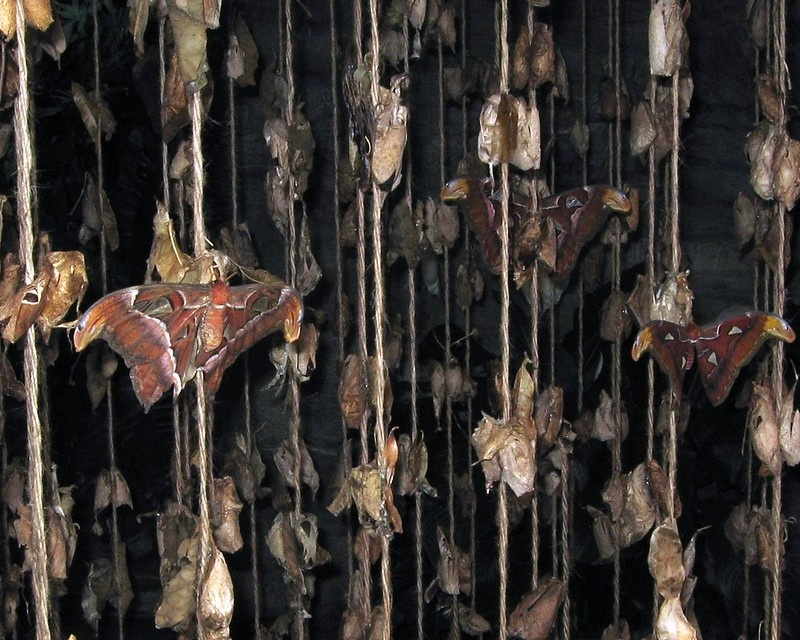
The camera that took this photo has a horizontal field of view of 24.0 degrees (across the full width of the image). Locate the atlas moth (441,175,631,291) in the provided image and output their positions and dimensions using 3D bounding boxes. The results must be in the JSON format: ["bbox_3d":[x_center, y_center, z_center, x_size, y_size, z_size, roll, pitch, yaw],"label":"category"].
[{"bbox_3d":[0.274,-0.188,4.020,0.385,0.176,0.252,5,-26,-9],"label":"atlas moth"}]

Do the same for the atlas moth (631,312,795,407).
[{"bbox_3d":[0.631,0.054,3.902,0.254,0.202,0.158,7,-4,4],"label":"atlas moth"}]
